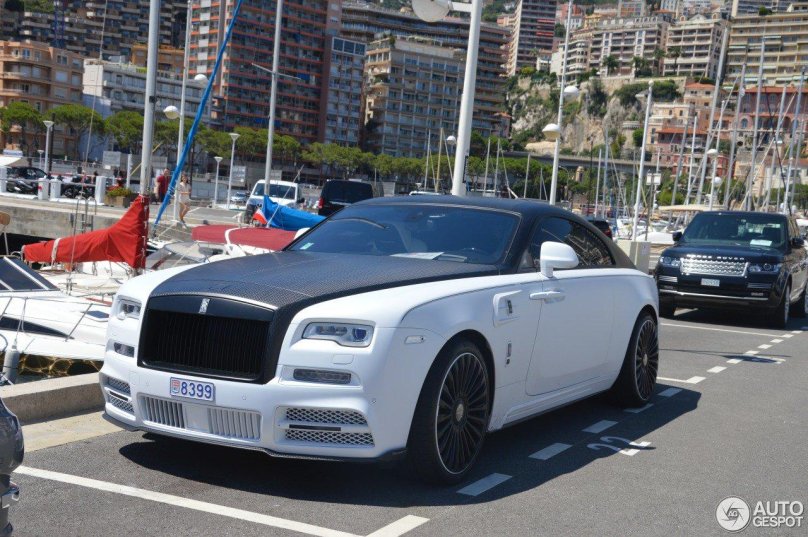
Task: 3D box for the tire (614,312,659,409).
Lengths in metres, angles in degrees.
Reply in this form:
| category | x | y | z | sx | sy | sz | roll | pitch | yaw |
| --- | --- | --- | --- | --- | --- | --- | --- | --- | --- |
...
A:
| category | x | y | z | sx | sy | sz | roll | pitch | yaw |
| --- | --- | --- | --- | --- | --- | --- | --- | --- | --- |
| tire | 2.521 | 1.009 | 8.528 | 0.355 | 1.051 | 1.013 | 6 | 7 | 36 |

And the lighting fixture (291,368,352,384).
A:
| category | x | y | z | sx | sy | sz | roll | pitch | yaw |
| --- | --- | --- | --- | --- | --- | --- | --- | --- | --- |
| lighting fixture | -0.622 | 0.814 | 5.789 | 0.436 | 0.100 | 0.025 | 4 | 8 | 1 |

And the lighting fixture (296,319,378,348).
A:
| category | x | y | z | sx | sy | sz | roll | pitch | yaw |
| --- | --- | --- | --- | --- | --- | --- | --- | --- | --- |
| lighting fixture | -0.513 | 0.492 | 5.825 | 0.525 | 0.169 | 0.080 | 5 | 8 | 8 |

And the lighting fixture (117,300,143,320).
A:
| category | x | y | z | sx | sy | sz | roll | pitch | yaw |
| --- | --- | --- | --- | --- | --- | --- | --- | --- | --- |
| lighting fixture | -2.291 | 0.337 | 6.386 | 0.149 | 0.103 | 0.218 | 3 | 2 | -6 |

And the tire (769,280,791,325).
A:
| category | x | y | z | sx | sy | sz | roll | pitch | yaw |
| --- | --- | --- | --- | --- | --- | --- | --- | --- | --- |
| tire | 7.403 | 0.659 | 15.355 | 0.282 | 0.901 | 0.873 | 3 | 3 | 21 |

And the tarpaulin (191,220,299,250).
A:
| category | x | y | z | sx | sy | sz | roll | pitch | yaw |
| --- | --- | --- | --- | --- | --- | --- | --- | --- | --- |
| tarpaulin | -3.010 | -0.633 | 14.722 | 1.932 | 0.286 | 0.966 | 7 | 10 | 33 |

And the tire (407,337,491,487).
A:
| category | x | y | z | sx | sy | sz | roll | pitch | yaw |
| --- | --- | --- | --- | --- | --- | --- | --- | --- | --- |
| tire | 0.366 | 1.162 | 6.246 | 0.168 | 1.191 | 0.865 | 10 | 10 | 43 |
